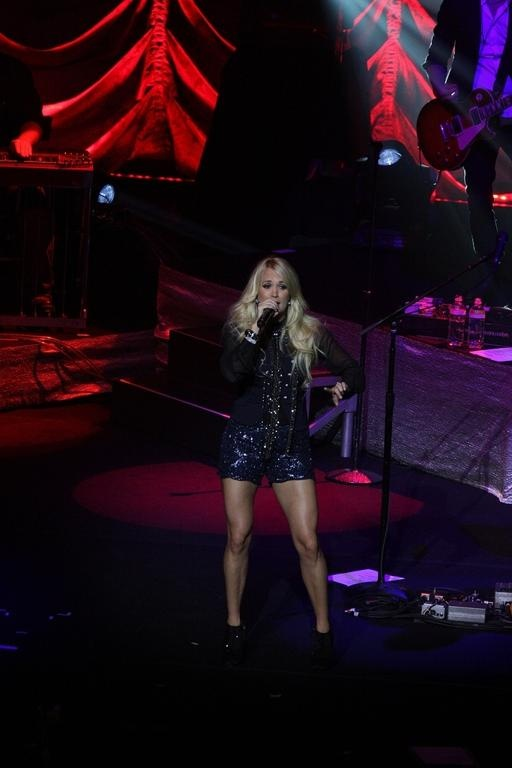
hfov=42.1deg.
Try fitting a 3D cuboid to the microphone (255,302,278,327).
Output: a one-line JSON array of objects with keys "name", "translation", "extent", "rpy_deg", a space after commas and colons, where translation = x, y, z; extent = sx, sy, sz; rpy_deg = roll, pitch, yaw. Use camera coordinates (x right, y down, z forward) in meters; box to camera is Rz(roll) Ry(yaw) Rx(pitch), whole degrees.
[{"name": "microphone", "translation": [0.035, -0.219, 2.113], "extent": [0.029, 0.092, 0.094], "rpy_deg": [13, -36, 6]}]

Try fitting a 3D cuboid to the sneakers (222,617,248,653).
[{"name": "sneakers", "translation": [-0.071, 0.885, 2.368], "extent": [0.087, 0.137, 0.102], "rpy_deg": [-5, 4, -23]}]

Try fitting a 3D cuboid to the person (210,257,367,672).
[{"name": "person", "translation": [0.112, 0.249, 2.277], "extent": [0.479, 1.360, 0.392], "rpy_deg": [2, 5, -2]}]

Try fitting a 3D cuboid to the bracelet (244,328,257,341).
[{"name": "bracelet", "translation": [-0.018, -0.153, 2.083], "extent": [0.035, 0.036, 0.014], "rpy_deg": [2, -7, 6]}]

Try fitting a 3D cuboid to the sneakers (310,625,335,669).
[{"name": "sneakers", "translation": [0.227, 0.909, 2.260], "extent": [0.073, 0.104, 0.112], "rpy_deg": [1, -11, 0]}]
